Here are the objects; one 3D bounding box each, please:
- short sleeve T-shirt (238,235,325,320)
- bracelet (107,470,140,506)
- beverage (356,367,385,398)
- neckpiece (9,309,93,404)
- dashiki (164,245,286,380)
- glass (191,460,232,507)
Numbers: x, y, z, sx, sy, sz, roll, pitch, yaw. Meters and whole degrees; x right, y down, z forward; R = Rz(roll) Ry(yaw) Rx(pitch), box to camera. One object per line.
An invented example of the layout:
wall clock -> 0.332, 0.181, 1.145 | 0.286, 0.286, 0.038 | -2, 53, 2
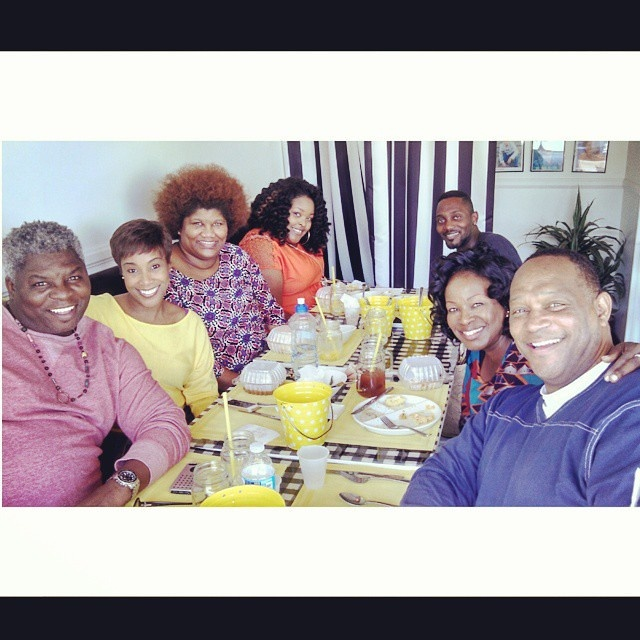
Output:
short sleeve T-shirt -> -0.210, -0.210, 2.865 | 0.232, 0.329, 0.396 | 10, 26, 26
bracelet -> -0.408, 0.346, 1.220 | 0.058, 0.055, 0.042 | 8, 13, 40
beverage -> 0.146, 0.181, 1.701 | 0.091, 0.071, 0.082 | 0, 12, 7
neckpiece -> -0.706, 0.096, 1.529 | 0.041, 0.218, 0.141 | -19, 8, 43
dashiki -> -0.410, -0.022, 2.395 | 0.283, 0.427, 0.482 | 16, 40, 36
glass -> -0.220, 0.324, 1.150 | 0.072, 0.085, 0.099 | 0, 2, 2
